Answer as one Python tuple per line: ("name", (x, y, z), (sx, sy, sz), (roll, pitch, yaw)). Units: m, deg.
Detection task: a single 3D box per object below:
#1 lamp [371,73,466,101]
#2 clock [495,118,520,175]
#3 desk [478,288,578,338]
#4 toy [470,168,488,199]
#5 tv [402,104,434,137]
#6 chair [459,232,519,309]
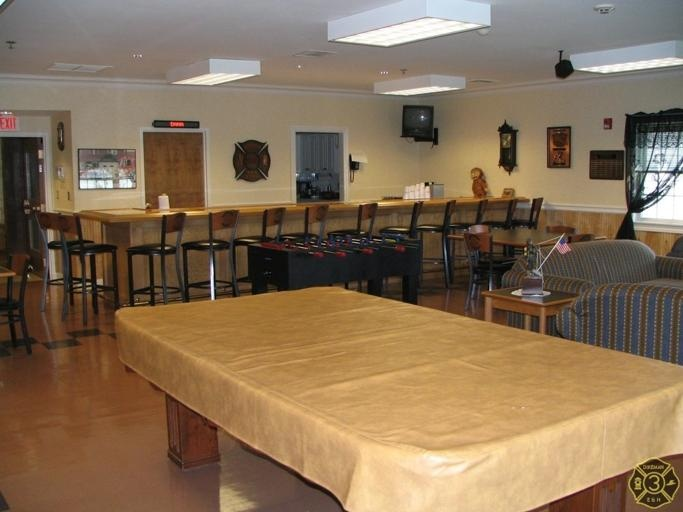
("lamp", (1.280, -2.900, 8.807), (0.758, 0.306, 1.301), (-8, 12, -43))
("clock", (3.335, -2.210, 10.742), (0.159, 1.038, 0.444), (-8, 12, -39))
("desk", (1.749, 0.394, 4.886), (0.569, 0.521, 0.558), (-4, 7, -41))
("toy", (2.880, -1.562, 11.093), (0.385, 0.605, 0.527), (3, 10, 15))
("tv", (1.651, -2.953, 11.547), (0.676, 0.616, 0.341), (2, 8, 12))
("chair", (2.067, 0.191, 7.239), (0.717, 0.952, 0.662), (-2, 4, -13))
